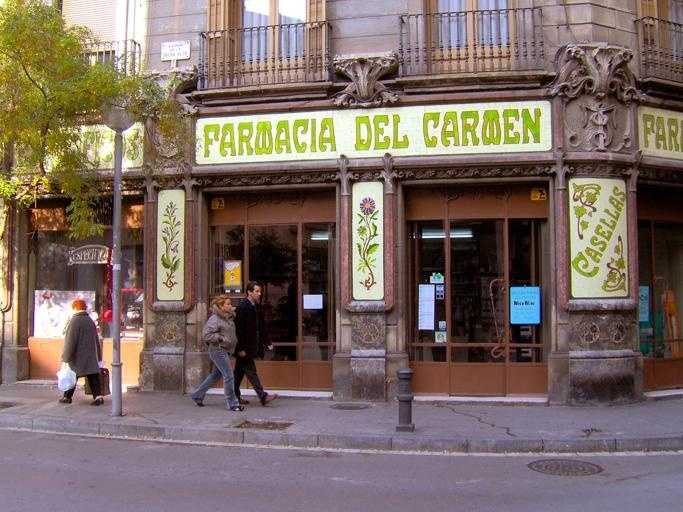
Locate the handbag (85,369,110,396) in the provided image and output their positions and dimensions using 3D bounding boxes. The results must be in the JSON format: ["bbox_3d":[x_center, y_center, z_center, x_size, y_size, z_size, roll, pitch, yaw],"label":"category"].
[{"bbox_3d":[-4.891,2.515,17.161,0.488,0.546,0.287,5,6,30],"label":"handbag"}]

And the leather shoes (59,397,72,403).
[{"bbox_3d":[-5.509,2.878,17.124,0.216,0.110,0.112,5,-4,10],"label":"leather shoes"}]

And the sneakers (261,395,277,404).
[{"bbox_3d":[-1.441,2.810,16.833,0.299,0.133,0.162,-28,-6,25],"label":"sneakers"}]

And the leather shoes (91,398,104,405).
[{"bbox_3d":[-4.833,2.865,16.962,0.269,0.137,0.104,-1,-5,26],"label":"leather shoes"}]

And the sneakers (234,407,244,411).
[{"bbox_3d":[-1.979,2.917,16.434,0.133,0.063,0.081,-5,-5,16],"label":"sneakers"}]

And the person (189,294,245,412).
[{"bbox_3d":[-2.436,1.876,16.727,0.970,2.180,0.756,-1,-2,-10],"label":"person"}]

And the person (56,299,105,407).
[{"bbox_3d":[-5.161,1.858,17.050,0.754,1.914,0.385,-1,-2,-22],"label":"person"}]
